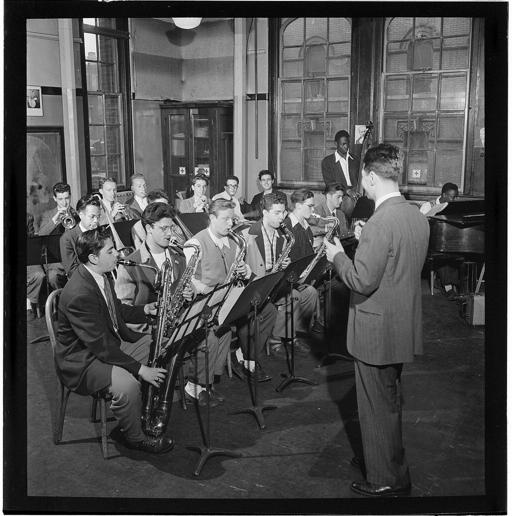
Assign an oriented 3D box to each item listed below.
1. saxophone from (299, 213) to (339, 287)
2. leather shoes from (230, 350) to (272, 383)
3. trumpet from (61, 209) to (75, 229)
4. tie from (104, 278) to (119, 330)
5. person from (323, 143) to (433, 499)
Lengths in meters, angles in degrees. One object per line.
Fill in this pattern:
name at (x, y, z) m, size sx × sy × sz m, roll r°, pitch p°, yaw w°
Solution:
saxophone at (0.466, -0.045, 4.176) m, size 0.102 × 0.664 × 0.187 m, roll 20°, pitch -5°, yaw -40°
leather shoes at (-0.088, 0.753, 4.185) m, size 0.430 × 0.214 × 0.147 m, roll 15°, pitch 18°, yaw 41°
trumpet at (-1.709, -0.348, 5.104) m, size 0.157 × 0.208 × 0.455 m, roll -4°, pitch 5°, yaw -21°
tie at (-0.798, 0.273, 3.118) m, size 0.067 × 0.341 × 0.152 m, roll -3°, pitch 13°, yaw -13°
person at (0.615, 0.303, 2.773) m, size 0.445 × 1.802 × 0.595 m, roll 2°, pitch 6°, yaw 22°
